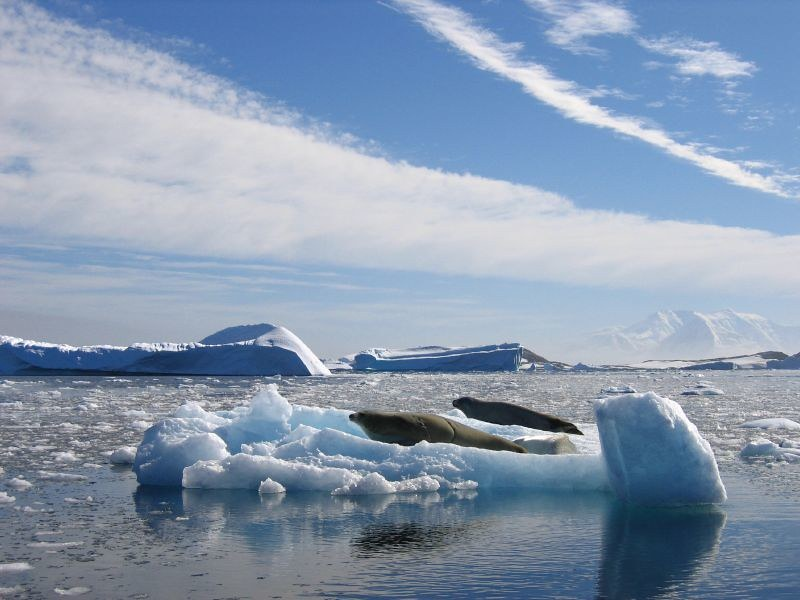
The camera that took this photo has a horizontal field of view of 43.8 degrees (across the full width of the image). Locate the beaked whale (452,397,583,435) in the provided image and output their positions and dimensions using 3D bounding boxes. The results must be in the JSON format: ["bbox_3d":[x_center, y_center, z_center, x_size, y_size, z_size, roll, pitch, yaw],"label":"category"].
[{"bbox_3d":[2.247,2.330,19.778,2.074,0.334,0.673,6,18,32],"label":"beaked whale"}]

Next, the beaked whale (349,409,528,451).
[{"bbox_3d":[0.340,1.941,14.694,2.910,0.442,0.793,6,0,-16],"label":"beaked whale"}]
